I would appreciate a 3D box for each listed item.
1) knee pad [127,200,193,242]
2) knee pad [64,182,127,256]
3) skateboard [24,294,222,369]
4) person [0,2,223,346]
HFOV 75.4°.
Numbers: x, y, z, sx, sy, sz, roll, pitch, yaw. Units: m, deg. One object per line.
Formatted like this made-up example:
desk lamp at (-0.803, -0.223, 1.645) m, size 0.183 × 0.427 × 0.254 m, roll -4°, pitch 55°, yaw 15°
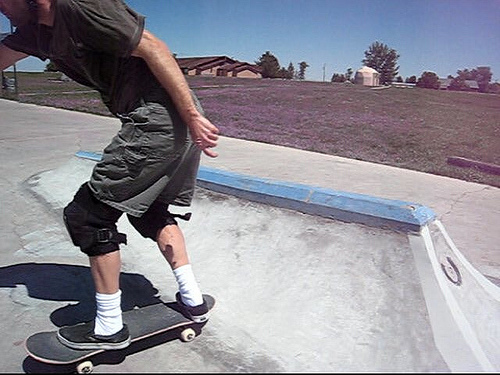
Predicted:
knee pad at (-0.438, 0.170, 1.632) m, size 0.234 × 0.097 × 0.246 m, roll 42°, pitch 43°, yaw 15°
knee pad at (-0.655, 0.137, 1.378) m, size 0.253 × 0.296 × 0.161 m, roll 6°, pitch 20°, yaw -10°
skateboard at (-0.497, 0.679, 1.499) m, size 0.876 × 0.108 × 0.259 m, roll -3°, pitch 20°, yaw -35°
person at (-0.600, -0.061, 1.472) m, size 0.709 × 1.424 × 0.834 m, roll -5°, pitch 24°, yaw -36°
